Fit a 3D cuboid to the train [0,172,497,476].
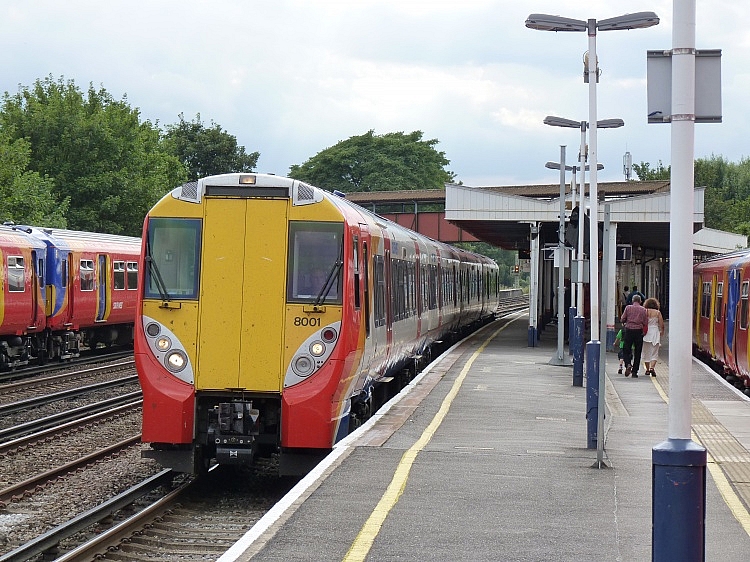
[{"bbox_3d":[-1.522,0.587,16.405,4.639,4.769,13.071,-1,3,11],"label":"train"}]
